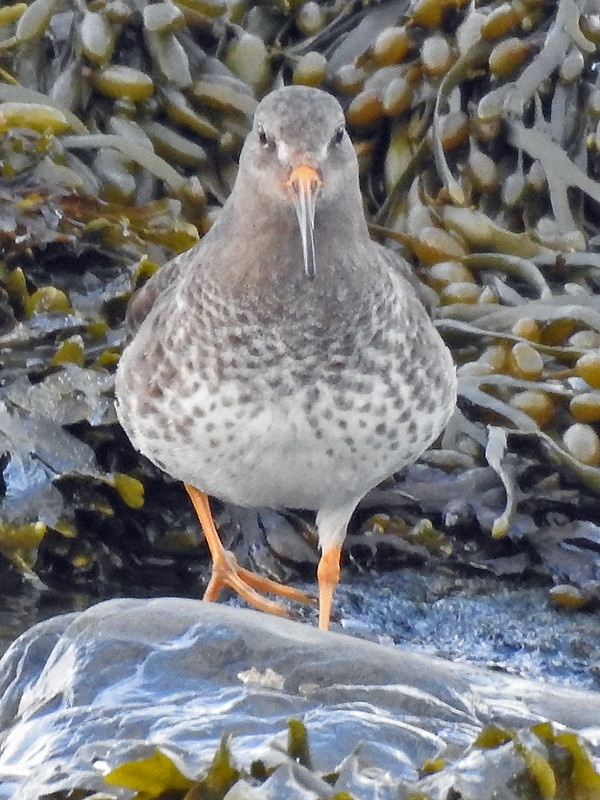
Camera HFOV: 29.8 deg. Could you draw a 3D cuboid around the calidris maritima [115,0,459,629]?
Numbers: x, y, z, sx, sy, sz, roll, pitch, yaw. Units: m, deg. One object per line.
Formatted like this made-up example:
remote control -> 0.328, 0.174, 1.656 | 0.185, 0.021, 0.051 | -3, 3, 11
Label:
calidris maritima -> -0.016, -0.183, 2.903 | 0.910, 1.538, 1.238 | 2, 74, -6
